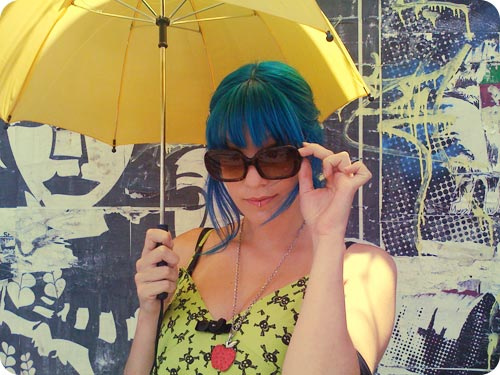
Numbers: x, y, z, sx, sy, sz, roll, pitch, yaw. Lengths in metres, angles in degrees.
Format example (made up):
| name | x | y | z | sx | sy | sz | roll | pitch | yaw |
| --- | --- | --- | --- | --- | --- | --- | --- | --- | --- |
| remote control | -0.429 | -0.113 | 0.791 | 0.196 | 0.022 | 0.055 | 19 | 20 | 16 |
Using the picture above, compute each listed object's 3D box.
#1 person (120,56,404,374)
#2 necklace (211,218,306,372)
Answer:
| name | x | y | z | sx | sy | sz | roll | pitch | yaw |
| --- | --- | --- | --- | --- | --- | --- | --- | --- | --- |
| person | 0.093 | 0.126 | 4.371 | 1.410 | 1.823 | 0.443 | -1 | -8 | 11 |
| necklace | 0.037 | 0.599 | 4.382 | 0.510 | 0.829 | 0.283 | 2 | -8 | -10 |
